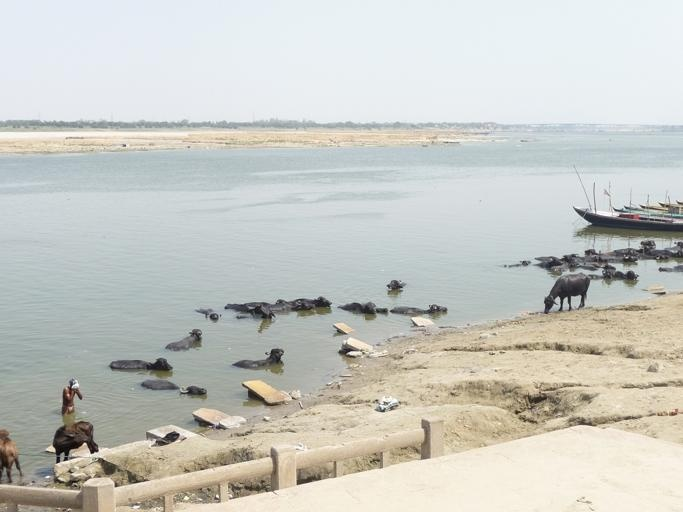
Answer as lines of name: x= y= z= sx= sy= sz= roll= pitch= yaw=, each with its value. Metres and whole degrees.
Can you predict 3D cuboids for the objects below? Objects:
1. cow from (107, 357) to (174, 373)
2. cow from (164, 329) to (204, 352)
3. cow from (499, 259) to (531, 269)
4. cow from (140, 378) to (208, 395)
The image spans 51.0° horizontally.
cow: x=-9.705 y=5.291 z=34.689 sx=2.346 sy=0.341 sz=1.053 roll=1 pitch=1 yaw=0
cow: x=-8.267 y=4.411 z=37.909 sx=1.365 sy=0.857 sz=1.932 roll=-7 pitch=4 yaw=27
cow: x=13.963 y=0.641 z=55.301 sx=3.205 sy=0.558 sz=1.212 roll=-5 pitch=-12 yaw=1
cow: x=-7.696 y=5.967 z=32.721 sx=3.210 sy=0.439 sz=0.900 roll=5 pitch=4 yaw=11
